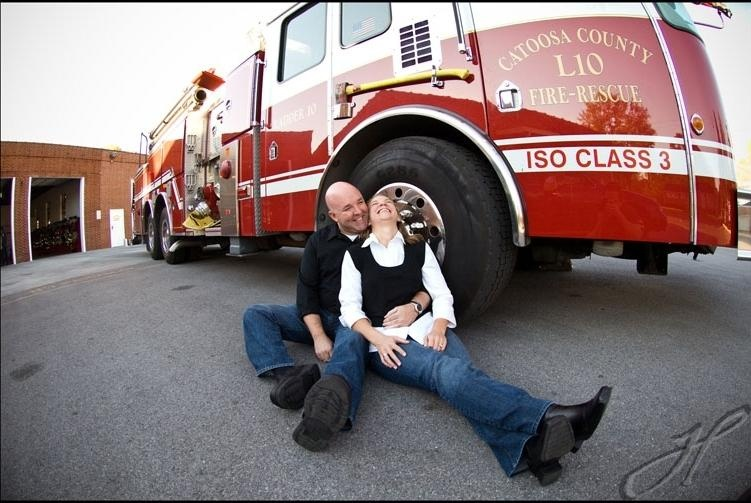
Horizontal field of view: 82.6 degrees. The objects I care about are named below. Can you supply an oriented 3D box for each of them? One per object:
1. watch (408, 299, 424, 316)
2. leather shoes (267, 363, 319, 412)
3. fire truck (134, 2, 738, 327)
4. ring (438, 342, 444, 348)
[{"bbox_3d":[0.281,0.370,2.821,0.064,0.098,0.091,-20,-9,-47],"label":"watch"},{"bbox_3d":[-0.467,0.814,2.594,0.172,0.161,0.378,1,7,43],"label":"leather shoes"},{"bbox_3d":[-0.612,-1.044,5.608,2.545,2.464,7.730,-3,3,-43],"label":"fire truck"},{"bbox_3d":[0.411,0.583,2.617,0.018,0.024,0.006,22,-10,-3],"label":"ring"}]
